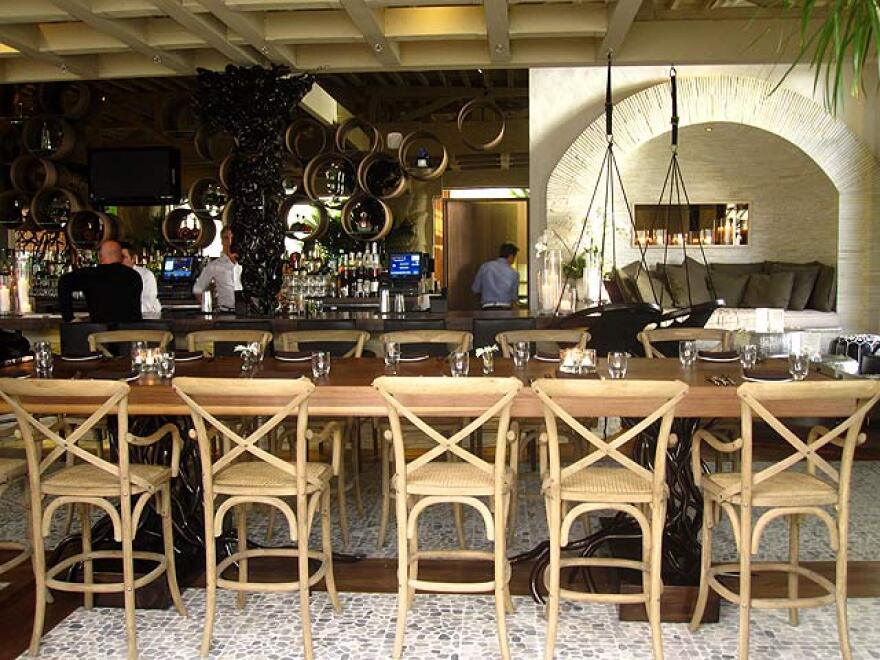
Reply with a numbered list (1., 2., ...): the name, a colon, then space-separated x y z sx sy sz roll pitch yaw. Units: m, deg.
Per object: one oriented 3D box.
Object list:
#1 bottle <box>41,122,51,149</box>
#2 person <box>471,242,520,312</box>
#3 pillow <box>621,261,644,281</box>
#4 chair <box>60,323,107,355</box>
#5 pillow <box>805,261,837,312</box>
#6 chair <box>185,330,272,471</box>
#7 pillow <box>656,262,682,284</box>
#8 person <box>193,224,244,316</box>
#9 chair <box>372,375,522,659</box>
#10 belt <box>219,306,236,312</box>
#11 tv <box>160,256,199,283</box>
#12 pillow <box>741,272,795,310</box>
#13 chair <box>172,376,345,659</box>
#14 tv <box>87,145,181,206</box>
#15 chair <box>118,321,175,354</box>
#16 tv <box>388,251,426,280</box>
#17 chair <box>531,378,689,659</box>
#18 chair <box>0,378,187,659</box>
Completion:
1. bottle: -5.569 -2.728 10.032 0.141 0.403 0.369 -1 6 -29
2. person: 0.677 -0.671 8.577 0.526 0.718 0.416 2 6 1
3. pillow: 2.543 -0.769 9.331 0.419 0.102 0.366 -17 24 -24
4. chair: -2.727 0.066 5.426 0.250 0.254 0.189 1 -1 -2
5. pillow: 5.038 -0.542 9.374 0.264 0.529 0.588 -14 8 -3
6. chair: -1.456 0.275 4.978 0.537 0.630 0.461 0 -5 -2
7. pillow: 3.069 -0.771 9.580 0.387 0.172 0.372 -5 21 -32
8. person: -2.533 -0.708 8.099 0.496 0.951 1.711 0 6 -18
9. chair: 0.069 0.735 3.840 0.732 1.236 1.896 2 5 2
10. belt: -2.369 -0.223 7.911 0.142 0.026 0.984 0 5 -18
11. tv: -3.780 -0.868 10.349 0.531 0.435 0.285 1 -17 3
12. pillow: 4.394 -0.532 9.498 0.619 0.489 0.395 4 6 23
13. chair: -0.906 0.757 3.652 0.770 1.227 1.564 1 6 -11
14. tv: -4.468 -2.237 10.331 0.905 0.623 0.097 1 8 -4
15. chair: -2.031 0.052 4.896 0.252 0.326 0.237 0 -3 -6
16. tv: -0.429 -0.826 9.325 0.560 0.393 0.302 1 2 1
17. chair: 0.810 0.766 3.482 0.641 1.235 1.353 3 6 13
18. chair: -1.746 0.762 3.667 0.796 1.230 1.627 0 6 -20
